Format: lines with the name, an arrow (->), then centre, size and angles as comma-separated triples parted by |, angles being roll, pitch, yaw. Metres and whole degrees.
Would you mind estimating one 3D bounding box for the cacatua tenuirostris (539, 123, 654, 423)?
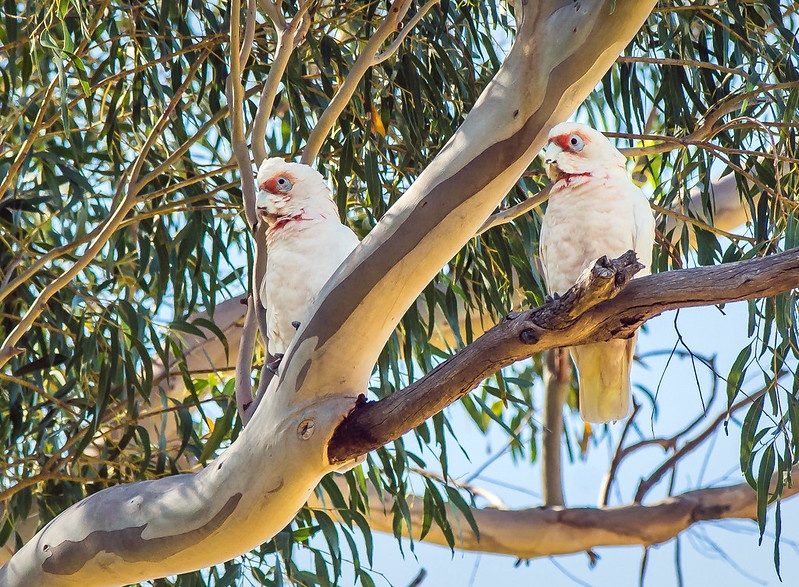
cacatua tenuirostris -> 0.680, -0.090, 5.977 | 0.351, 1.040, 0.453 | -10, -11, 41
